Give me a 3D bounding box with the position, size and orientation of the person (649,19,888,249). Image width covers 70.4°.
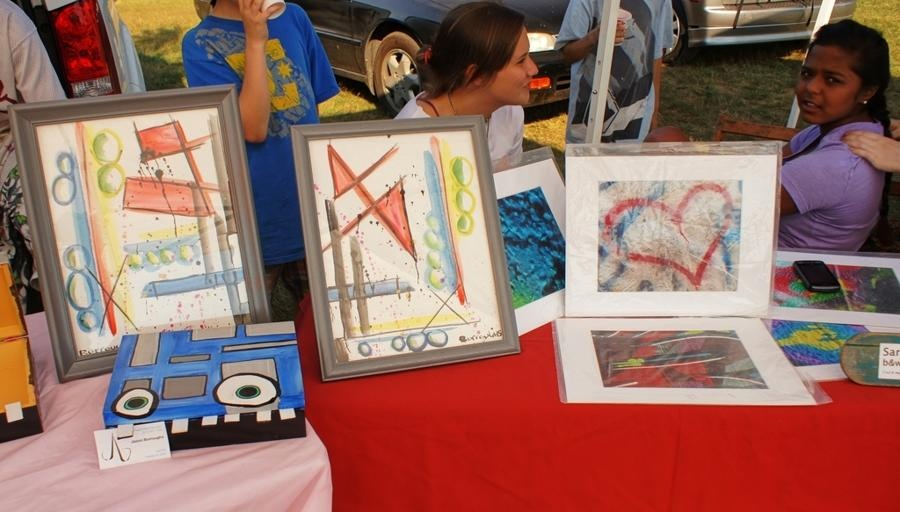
[{"bbox_3d":[1.684,-0.559,3.362,1.103,1.176,0.843,7,26,26],"label":"person"}]
